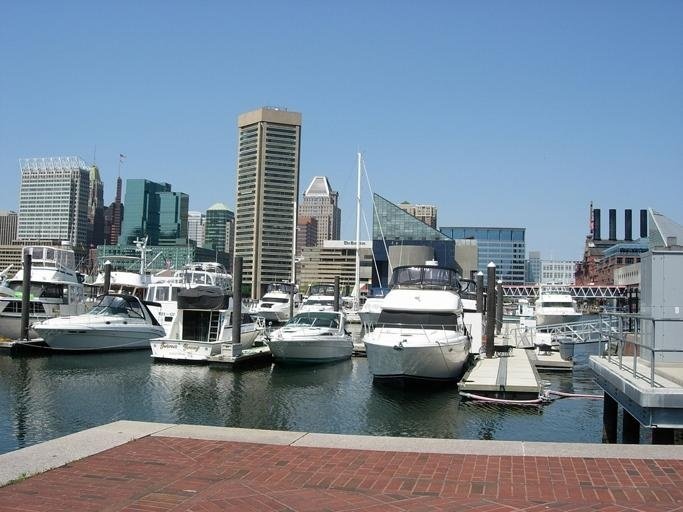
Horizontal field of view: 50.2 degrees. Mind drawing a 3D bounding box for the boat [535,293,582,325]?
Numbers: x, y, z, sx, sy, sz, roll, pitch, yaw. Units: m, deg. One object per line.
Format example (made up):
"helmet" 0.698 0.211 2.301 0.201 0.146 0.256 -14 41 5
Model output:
"boat" 15.064 3.759 51.704 2.524 2.101 3.221 1 -3 -14
